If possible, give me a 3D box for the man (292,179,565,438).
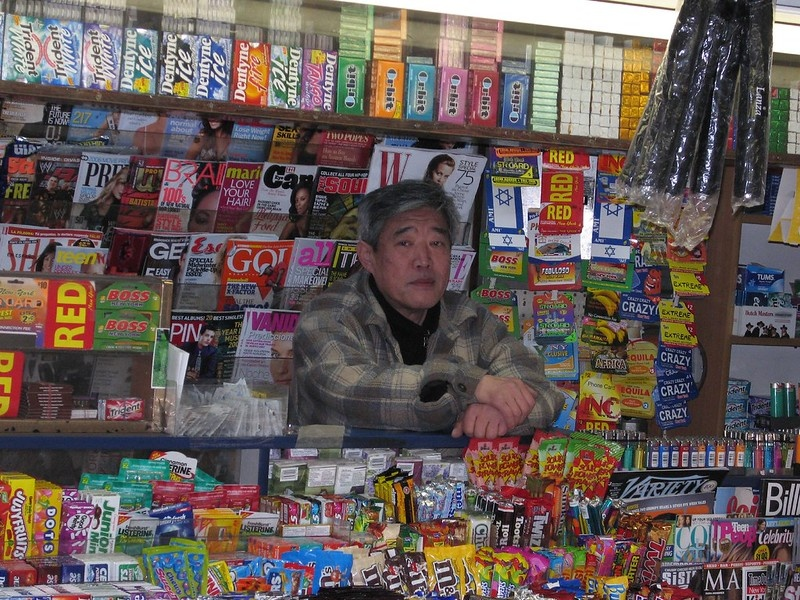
[{"bbox_3d":[0.069,-0.003,2.846,0.628,1.222,0.788,7,-29,-22],"label":"man"}]
